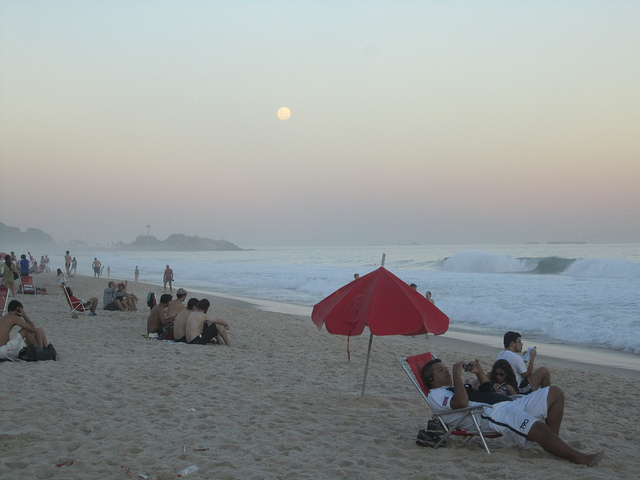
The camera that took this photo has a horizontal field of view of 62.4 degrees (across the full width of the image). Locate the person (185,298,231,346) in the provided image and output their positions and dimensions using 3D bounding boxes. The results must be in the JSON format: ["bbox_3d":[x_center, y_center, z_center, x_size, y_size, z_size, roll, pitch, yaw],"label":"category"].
[{"bbox_3d":[-2.482,1.829,11.550,0.801,1.022,1.124,5,2,39],"label":"person"}]

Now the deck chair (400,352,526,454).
[{"bbox_3d":[1.712,2.200,7.182,1.320,0.983,0.959,7,-1,6],"label":"deck chair"}]

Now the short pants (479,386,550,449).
[{"bbox_3d":[2.374,2.209,6.643,0.745,0.254,0.753,-1,30,27],"label":"short pants"}]

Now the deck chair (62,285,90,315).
[{"bbox_3d":[-6.550,1.651,14.325,0.632,0.746,1.305,1,4,-30],"label":"deck chair"}]

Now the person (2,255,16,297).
[{"bbox_3d":[-9.893,1.179,16.930,0.326,1.331,0.749,1,5,-28],"label":"person"}]

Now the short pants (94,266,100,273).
[{"bbox_3d":[-14.146,1.893,33.729,0.465,0.451,0.271,2,7,-23],"label":"short pants"}]

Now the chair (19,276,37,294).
[{"bbox_3d":[-10.025,1.566,18.315,0.509,0.771,0.547,1,-4,-27],"label":"chair"}]

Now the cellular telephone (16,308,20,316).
[{"bbox_3d":[-5.153,1.255,9.074,0.063,0.093,0.027,0,5,-18],"label":"cellular telephone"}]

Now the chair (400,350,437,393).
[{"bbox_3d":[1.321,1.943,7.579,0.394,0.597,0.180,-8,-20,-21],"label":"chair"}]

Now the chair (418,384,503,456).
[{"bbox_3d":[1.797,2.353,7.135,1.115,0.915,0.746,-4,-16,25],"label":"chair"}]

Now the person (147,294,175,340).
[{"bbox_3d":[-3.544,1.819,12.045,0.649,1.269,0.653,-1,13,-31],"label":"person"}]

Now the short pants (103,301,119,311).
[{"bbox_3d":[-6.122,1.930,15.556,0.516,0.281,0.144,5,4,28],"label":"short pants"}]

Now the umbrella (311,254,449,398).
[{"bbox_3d":[0.847,1.498,8.105,2.097,2.004,2.233,2,-2,-27],"label":"umbrella"}]

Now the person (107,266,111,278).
[{"bbox_3d":[-16.270,2.483,40.876,0.188,0.733,0.306,-1,-6,-9],"label":"person"}]

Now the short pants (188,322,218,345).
[{"bbox_3d":[-2.450,2.013,11.129,0.315,0.532,0.163,35,-18,24],"label":"short pants"}]

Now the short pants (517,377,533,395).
[{"bbox_3d":[2.792,2.057,7.436,0.168,0.235,0.098,-12,-21,42],"label":"short pants"}]

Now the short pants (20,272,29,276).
[{"bbox_3d":[-10.979,1.293,19.792,0.217,0.156,0.122,1,-8,-25],"label":"short pants"}]

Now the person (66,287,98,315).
[{"bbox_3d":[-6.428,1.696,14.580,0.810,0.859,0.564,-3,2,-17],"label":"person"}]

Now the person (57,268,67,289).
[{"bbox_3d":[-13.065,1.934,26.899,0.442,0.681,1.498,-3,11,-27],"label":"person"}]

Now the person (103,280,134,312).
[{"bbox_3d":[-6.068,1.669,15.896,0.832,0.922,0.527,1,5,-15],"label":"person"}]

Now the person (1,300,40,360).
[{"bbox_3d":[-5.531,1.695,9.816,0.589,0.967,0.715,22,25,31],"label":"person"}]
